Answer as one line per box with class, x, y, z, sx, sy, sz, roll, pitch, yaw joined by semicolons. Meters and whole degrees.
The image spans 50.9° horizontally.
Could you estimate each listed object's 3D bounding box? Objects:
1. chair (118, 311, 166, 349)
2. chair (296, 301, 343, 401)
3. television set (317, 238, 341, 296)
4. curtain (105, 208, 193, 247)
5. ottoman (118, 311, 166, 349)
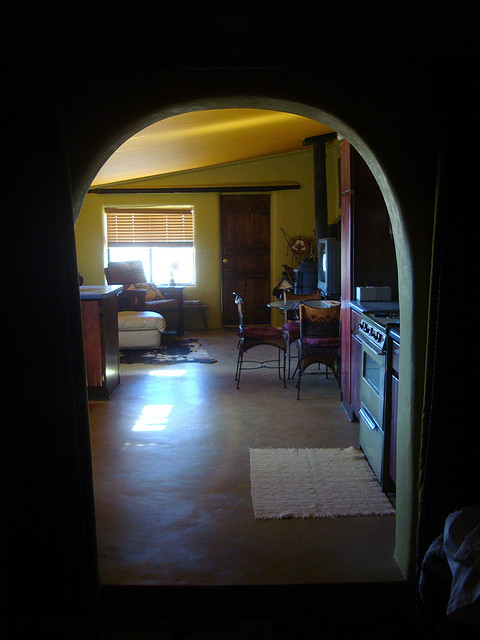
chair;-1.286;0.136;6.849;0.572;0.466;0.673;3;6;-6
chair;0.701;0.248;4.499;0.395;0.829;0.548;-1;9;12
television set;1.136;-0.645;6.054;0.354;0.724;0.670;-2;11;0
curtain;-1.562;-1.586;8.650;1.462;0.722;0.097;-4;9;0
ottoman;-1.301;0.098;6.861;0.572;0.466;0.673;3;6;-6
